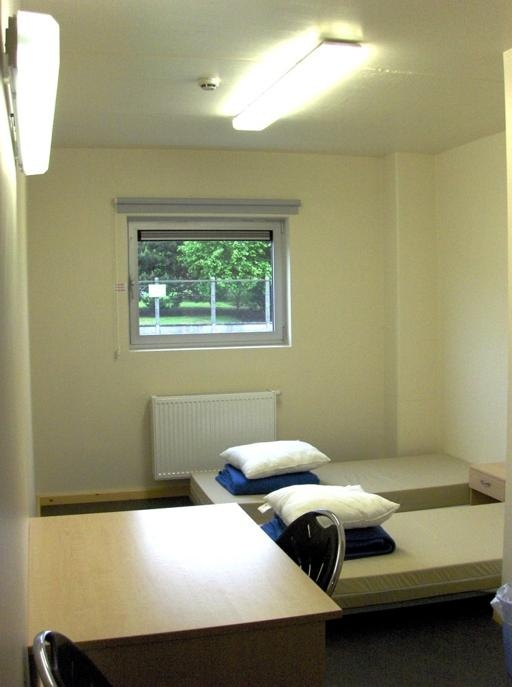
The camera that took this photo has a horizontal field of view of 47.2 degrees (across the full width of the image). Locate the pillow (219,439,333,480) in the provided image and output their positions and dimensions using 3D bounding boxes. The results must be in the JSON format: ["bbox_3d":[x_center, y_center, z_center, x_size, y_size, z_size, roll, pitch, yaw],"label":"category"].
[{"bbox_3d":[0.100,0.658,3.385,0.494,0.183,0.439,4,-5,-23],"label":"pillow"}]

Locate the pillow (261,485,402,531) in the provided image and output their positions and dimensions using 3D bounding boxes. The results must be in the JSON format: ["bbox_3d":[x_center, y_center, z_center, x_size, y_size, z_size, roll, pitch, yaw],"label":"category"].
[{"bbox_3d":[0.316,0.641,2.376,0.392,0.127,0.417,-1,4,-5],"label":"pillow"}]

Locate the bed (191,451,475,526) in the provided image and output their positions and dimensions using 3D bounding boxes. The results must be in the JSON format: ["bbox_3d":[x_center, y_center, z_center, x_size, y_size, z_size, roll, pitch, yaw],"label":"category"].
[{"bbox_3d":[0.572,0.769,3.314,1.222,0.126,0.642,-3,5,-8],"label":"bed"}]

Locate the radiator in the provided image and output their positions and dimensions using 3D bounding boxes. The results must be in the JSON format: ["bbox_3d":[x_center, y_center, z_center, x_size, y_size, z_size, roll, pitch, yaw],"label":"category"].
[{"bbox_3d":[-0.289,0.572,3.613,0.567,0.408,0.075,-3,2,-14],"label":"radiator"}]
